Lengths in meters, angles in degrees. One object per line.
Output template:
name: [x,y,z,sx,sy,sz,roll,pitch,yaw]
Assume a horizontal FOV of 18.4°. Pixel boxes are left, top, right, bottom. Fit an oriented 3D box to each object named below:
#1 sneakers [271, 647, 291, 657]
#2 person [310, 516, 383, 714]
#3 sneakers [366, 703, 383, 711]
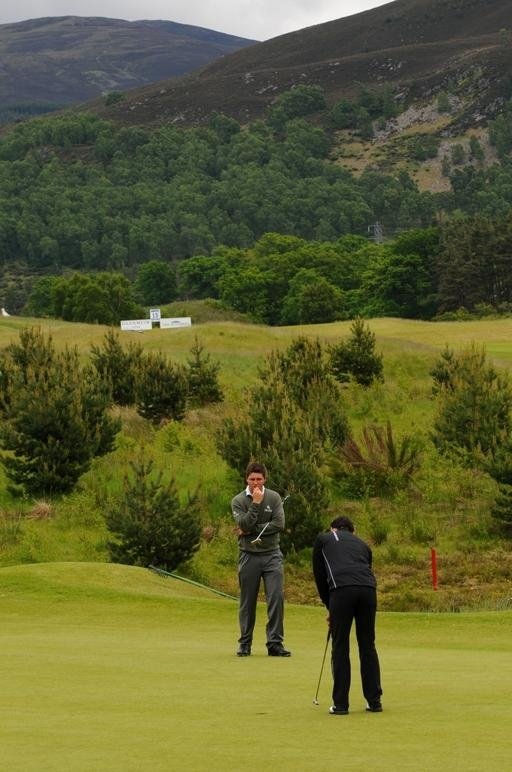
sneakers: [0.302,3.114,18.077,0.215,0.115,0.102,-1,-1,-6]
person: [0.979,2.428,16.322,0.680,1.928,0.927,0,5,-5]
sneakers: [1.217,3.316,16.016,0.164,0.086,0.176,1,6,6]
